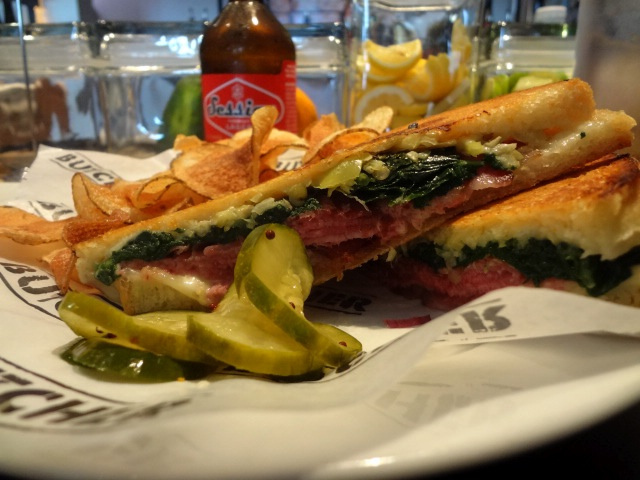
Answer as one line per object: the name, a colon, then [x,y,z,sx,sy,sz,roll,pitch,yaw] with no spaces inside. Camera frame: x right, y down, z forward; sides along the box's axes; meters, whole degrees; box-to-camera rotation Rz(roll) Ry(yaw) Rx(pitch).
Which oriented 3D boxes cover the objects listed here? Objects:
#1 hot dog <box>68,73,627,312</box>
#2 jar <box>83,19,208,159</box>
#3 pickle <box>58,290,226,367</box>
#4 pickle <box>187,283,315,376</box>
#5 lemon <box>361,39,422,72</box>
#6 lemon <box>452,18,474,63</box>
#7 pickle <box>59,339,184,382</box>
hot dog: [0.098,-0.067,1.209,1.154,0.199,0.254,-18,9,-4]
jar: [-0.691,-0.465,2.386,0.422,0.345,0.580,-3,61,-11]
pickle: [-0.291,0.128,0.985,0.208,0.050,0.168,16,-1,-8]
pickle: [-0.114,0.162,0.952,0.155,0.034,0.165,27,23,23]
lemon: [0.254,-0.684,2.091,0.179,0.085,0.155,-7,26,2]
lemon: [0.514,-0.729,2.149,0.060,0.166,0.155,0,14,21]
pickle: [-0.314,0.194,0.954,0.110,0.018,0.090,13,-3,-7]
